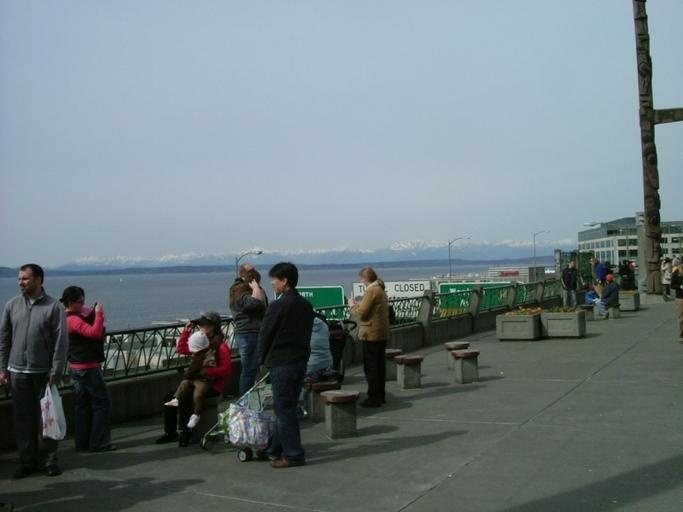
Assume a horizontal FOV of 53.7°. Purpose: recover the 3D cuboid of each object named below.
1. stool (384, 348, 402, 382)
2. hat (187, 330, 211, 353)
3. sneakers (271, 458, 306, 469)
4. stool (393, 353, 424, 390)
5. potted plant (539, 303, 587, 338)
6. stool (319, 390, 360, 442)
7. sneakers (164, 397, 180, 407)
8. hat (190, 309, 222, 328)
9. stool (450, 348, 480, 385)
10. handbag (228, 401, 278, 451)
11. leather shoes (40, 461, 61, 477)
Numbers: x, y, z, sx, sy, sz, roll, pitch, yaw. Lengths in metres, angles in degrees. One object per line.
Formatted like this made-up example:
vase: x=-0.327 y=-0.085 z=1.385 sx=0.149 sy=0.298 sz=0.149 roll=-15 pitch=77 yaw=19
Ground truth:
stool: x=1.027 y=2.357 z=13.759 sx=0.389 sy=0.428 sz=0.383 roll=-10 pitch=-4 yaw=1
hat: x=-2.041 y=1.230 z=9.673 sx=0.241 sy=0.315 sz=0.318 roll=3 pitch=4 yaw=-21
sneakers: x=-0.690 y=2.593 z=8.465 sx=0.391 sy=0.164 sz=0.146 roll=3 pitch=-8 yaw=3
stool: x=1.230 y=2.173 z=12.648 sx=0.512 sy=0.556 sz=0.539 roll=-1 pitch=-2 yaw=18
potted plant: x=5.945 y=1.759 z=18.276 sx=0.849 sy=0.658 sz=0.870 roll=-1 pitch=-1 yaw=20
stool: x=0.036 y=2.271 z=9.664 sx=0.621 sy=0.640 sz=0.589 roll=4 pitch=-8 yaw=-44
sneakers: x=-2.379 y=2.082 z=9.479 sx=0.237 sy=0.107 sz=0.089 roll=-3 pitch=-13 yaw=37
hat: x=-1.961 y=0.935 z=9.707 sx=0.407 sy=0.217 sz=0.271 roll=4 pitch=-10 yaw=-12
stool: x=2.326 y=2.105 z=12.810 sx=0.520 sy=0.539 sz=0.530 roll=-4 pitch=-7 yaw=23
handbag: x=-1.160 y=2.225 z=8.738 sx=0.710 sy=0.729 sz=0.335 roll=5 pitch=-2 yaw=2
leather shoes: x=-3.564 y=2.635 z=8.265 sx=0.121 sy=0.198 sz=0.203 roll=-9 pitch=-31 yaw=-17
